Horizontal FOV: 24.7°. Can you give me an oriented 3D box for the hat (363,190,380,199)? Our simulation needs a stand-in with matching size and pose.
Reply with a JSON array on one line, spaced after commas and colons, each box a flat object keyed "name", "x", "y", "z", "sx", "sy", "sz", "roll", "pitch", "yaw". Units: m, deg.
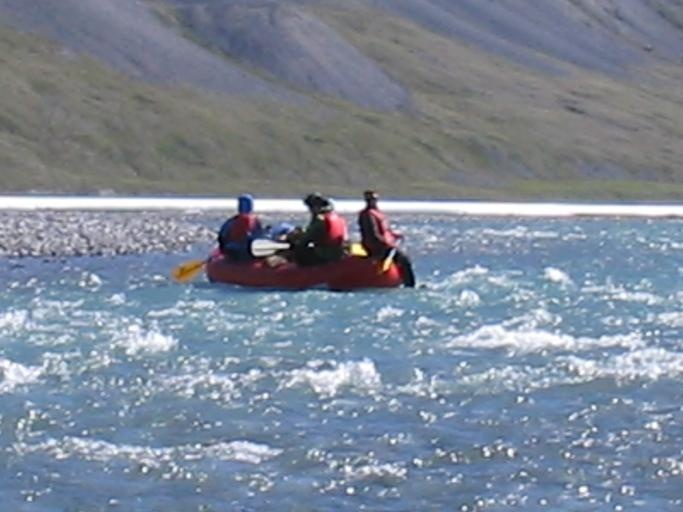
[{"name": "hat", "x": 0.646, "y": -1.284, "z": 33.944, "sx": 0.311, "sy": 0.170, "sz": 0.365, "roll": 3, "pitch": 16, "yaw": -3}]

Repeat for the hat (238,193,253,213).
[{"name": "hat", "x": -2.070, "y": -1.125, "z": 34.221, "sx": 0.467, "sy": 0.376, "sz": 0.321, "roll": -3, "pitch": 11, "yaw": -29}]

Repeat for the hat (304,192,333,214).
[{"name": "hat", "x": -0.507, "y": -1.140, "z": 33.974, "sx": 0.462, "sy": 0.234, "sz": 0.569, "roll": -4, "pitch": 17, "yaw": -40}]

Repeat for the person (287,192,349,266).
[{"name": "person", "x": -0.429, "y": -0.499, "z": 33.875, "sx": 1.257, "sy": 1.442, "sz": 0.572, "roll": 8, "pitch": 21, "yaw": -2}]

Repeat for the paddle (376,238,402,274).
[{"name": "paddle", "x": 1.059, "y": 0.035, "z": 33.840, "sx": 0.154, "sy": 0.656, "sz": 0.529, "roll": 22, "pitch": 24, "yaw": 30}]
